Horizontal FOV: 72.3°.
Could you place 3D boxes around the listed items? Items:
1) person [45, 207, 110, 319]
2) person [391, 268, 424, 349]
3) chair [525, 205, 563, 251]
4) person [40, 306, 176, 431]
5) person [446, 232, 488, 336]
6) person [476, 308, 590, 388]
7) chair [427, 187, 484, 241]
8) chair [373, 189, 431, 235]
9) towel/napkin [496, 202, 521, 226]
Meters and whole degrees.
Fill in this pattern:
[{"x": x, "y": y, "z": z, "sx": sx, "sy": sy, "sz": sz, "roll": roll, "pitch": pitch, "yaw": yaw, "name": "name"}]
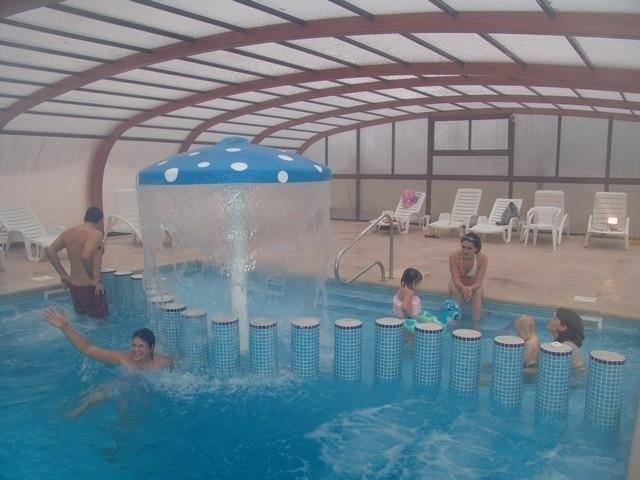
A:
[{"x": -3.809, "y": 0.412, "z": 7.045, "sx": 0.901, "sy": 1.842, "sz": 0.446, "roll": 6, "pitch": 16, "yaw": 25, "name": "person"}, {"x": 1.304, "y": 0.910, "z": 6.561, "sx": 0.394, "sy": 0.997, "sz": 1.733, "roll": 2, "pitch": 14, "yaw": 13, "name": "person"}, {"x": 6.540, "y": -0.386, "z": 12.915, "sx": 0.996, "sy": 0.975, "sz": 2.107, "roll": 6, "pitch": 15, "yaw": 27, "name": "chair"}, {"x": -2.293, "y": 1.250, "z": 4.939, "sx": 1.208, "sy": 1.109, "sz": 0.835, "roll": -14, "pitch": 19, "yaw": -43, "name": "person"}, {"x": 2.251, "y": 0.646, "z": 6.758, "sx": 0.551, "sy": 1.520, "sz": 1.139, "roll": 4, "pitch": 15, "yaw": 19, "name": "person"}, {"x": 2.505, "y": 1.289, "z": 5.356, "sx": 1.267, "sy": 0.884, "sz": 0.520, "roll": 1, "pitch": 5, "yaw": 13, "name": "person"}, {"x": 4.294, "y": -0.874, "z": 14.558, "sx": 1.369, "sy": 1.623, "sz": 2.356, "roll": 7, "pitch": 16, "yaw": 37, "name": "chair"}, {"x": 2.987, "y": -1.074, "z": 15.988, "sx": 1.440, "sy": 1.712, "sz": 2.715, "roll": 7, "pitch": 13, "yaw": 37, "name": "chair"}, {"x": 5.628, "y": -0.757, "z": 13.176, "sx": 0.479, "sy": 0.579, "sz": 1.001, "roll": 8, "pitch": 16, "yaw": 33, "name": "towel/napkin"}]
